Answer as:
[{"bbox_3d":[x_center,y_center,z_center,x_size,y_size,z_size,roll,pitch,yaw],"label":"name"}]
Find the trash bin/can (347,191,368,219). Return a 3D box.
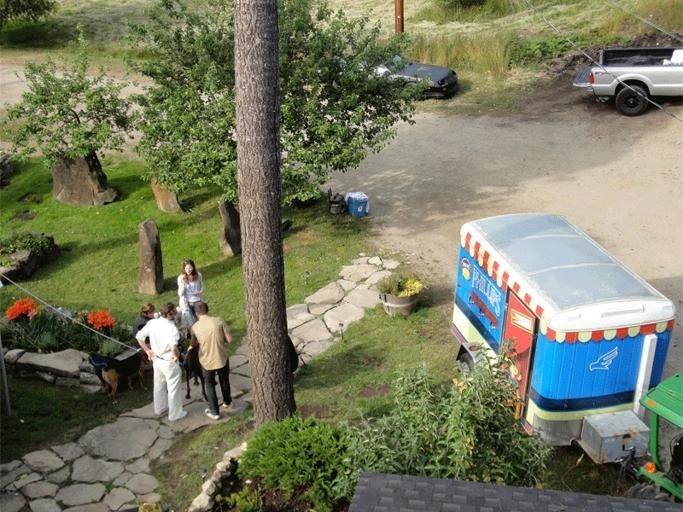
[{"bbox_3d":[0.503,-1.634,18.583,0.684,0.706,0.704,-5,27,-6],"label":"trash bin/can"}]

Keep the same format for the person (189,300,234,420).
[{"bbox_3d":[-2.395,2.008,11.213,0.747,2.290,0.538,-15,28,-17],"label":"person"}]

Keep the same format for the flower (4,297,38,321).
[{"bbox_3d":[-7.612,1.275,14.049,0.659,0.459,0.571,1,19,41],"label":"flower"}]

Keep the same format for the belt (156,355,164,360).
[{"bbox_3d":[-3.365,1.913,11.091,0.109,0.054,0.075,7,15,7],"label":"belt"}]

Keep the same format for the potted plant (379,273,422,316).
[{"bbox_3d":[1.373,0.927,14.185,0.916,0.997,0.939,3,21,-1],"label":"potted plant"}]

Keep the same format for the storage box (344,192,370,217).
[{"bbox_3d":[0.533,-1.702,18.555,0.700,0.721,0.717,-4,25,-5],"label":"storage box"}]

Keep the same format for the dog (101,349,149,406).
[{"bbox_3d":[-4.379,2.423,12.494,1.381,0.835,0.353,-17,5,20],"label":"dog"}]

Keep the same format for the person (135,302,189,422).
[{"bbox_3d":[-3.546,2.202,11.700,1.179,2.622,0.774,21,34,21],"label":"person"}]

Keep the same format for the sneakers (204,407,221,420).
[{"bbox_3d":[-2.479,3.094,11.472,0.321,0.135,0.146,31,46,28],"label":"sneakers"}]

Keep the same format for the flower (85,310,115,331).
[{"bbox_3d":[-5.449,1.411,13.488,0.485,0.435,0.495,7,30,-8],"label":"flower"}]

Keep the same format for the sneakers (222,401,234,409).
[{"bbox_3d":[-2.241,2.937,11.677,0.174,0.125,0.103,-6,58,4],"label":"sneakers"}]
